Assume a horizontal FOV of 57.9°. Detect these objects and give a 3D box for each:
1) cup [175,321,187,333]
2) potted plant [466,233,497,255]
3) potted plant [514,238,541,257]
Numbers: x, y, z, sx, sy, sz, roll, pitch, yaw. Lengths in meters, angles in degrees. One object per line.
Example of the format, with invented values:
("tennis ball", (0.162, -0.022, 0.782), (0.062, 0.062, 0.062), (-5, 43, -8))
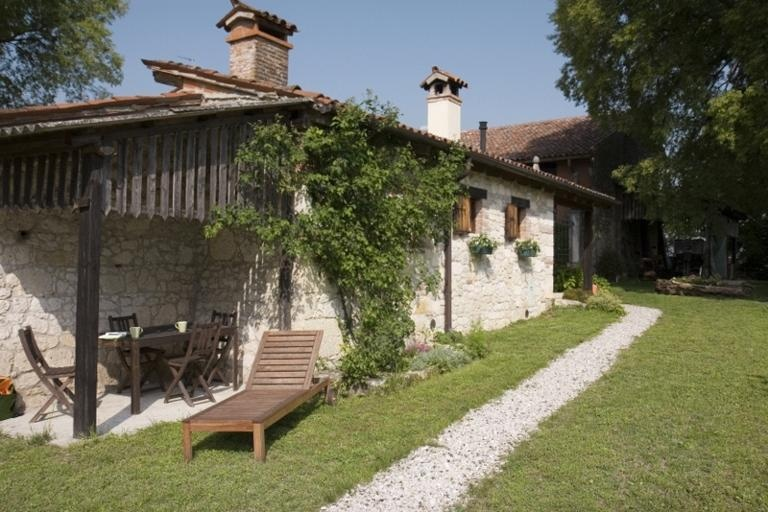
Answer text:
("cup", (-3.883, 1.345, 13.323), (0.175, 0.202, 0.267), (2, -7, -22))
("potted plant", (2.439, -0.298, 17.200), (0.436, 0.461, 0.769), (-3, -2, 33))
("potted plant", (3.920, -0.224, 18.970), (0.436, 0.451, 0.881), (-3, -2, 32))
